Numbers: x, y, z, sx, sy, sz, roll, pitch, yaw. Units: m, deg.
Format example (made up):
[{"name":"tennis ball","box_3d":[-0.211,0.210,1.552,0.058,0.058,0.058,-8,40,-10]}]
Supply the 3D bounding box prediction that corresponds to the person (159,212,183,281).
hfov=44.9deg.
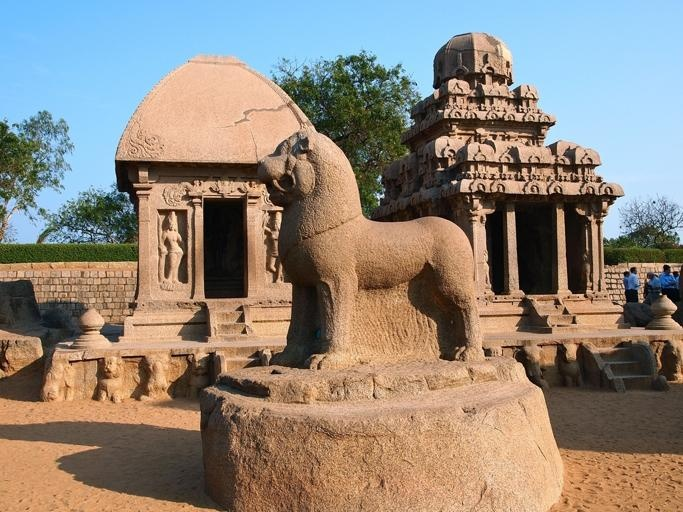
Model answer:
[{"name":"person","box_3d":[-3.149,-0.144,15.336,0.425,1.336,0.326,-1,9,-12]}]

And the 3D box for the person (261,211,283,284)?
[{"name":"person","box_3d":[-1.309,-0.187,15.884,0.367,1.374,0.379,4,9,23]}]
